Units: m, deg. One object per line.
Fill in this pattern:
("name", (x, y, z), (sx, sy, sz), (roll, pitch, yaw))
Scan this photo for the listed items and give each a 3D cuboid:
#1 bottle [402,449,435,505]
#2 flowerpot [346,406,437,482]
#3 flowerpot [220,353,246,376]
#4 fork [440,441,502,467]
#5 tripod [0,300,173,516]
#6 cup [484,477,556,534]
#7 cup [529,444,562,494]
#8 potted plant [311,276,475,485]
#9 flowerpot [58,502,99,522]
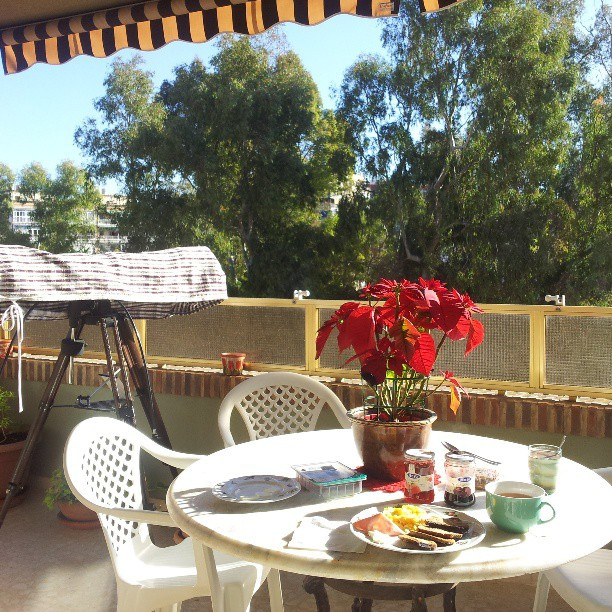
("bottle", (0.300, 0.455, 1.983), (0.091, 0.187, 0.101), (-4, 5, -34))
("flowerpot", (0.239, 0.356, 2.073), (0.189, 0.172, 0.195), (-1, -1, 43))
("flowerpot", (-0.421, 0.324, 4.065), (0.094, 0.105, 0.114), (0, -1, 4))
("fork", (0.499, 0.451, 2.180), (0.037, 0.041, 0.286), (16, 0, -20))
("tripod", (-1.350, 0.555, 3.996), (0.800, 1.299, 1.527), (-3, 5, -30))
("cup", (0.515, 0.449, 1.722), (0.097, 0.104, 0.155), (0, 4, -22))
("cup", (0.669, 0.456, 2.017), (0.071, 0.155, 0.081), (-2, -2, -3))
("potted plant", (0.209, 0.246, 2.105), (0.289, 0.515, 0.372), (16, -8, -17))
("flowerpot", (-1.266, 1.138, 4.009), (0.204, 0.132, 0.250), (3, -14, 3))
